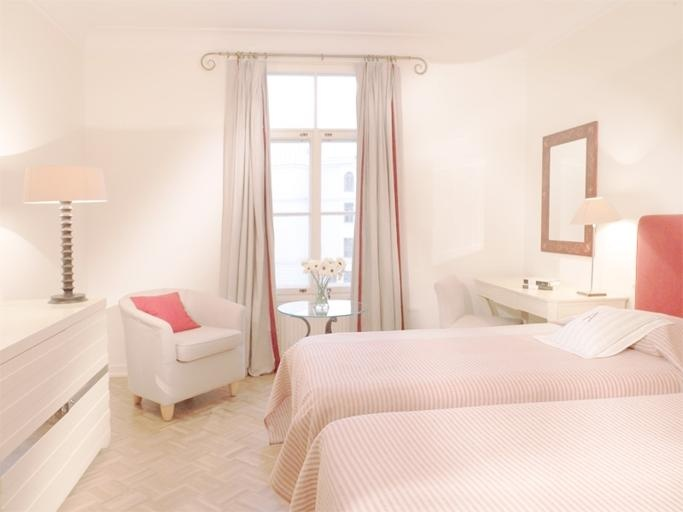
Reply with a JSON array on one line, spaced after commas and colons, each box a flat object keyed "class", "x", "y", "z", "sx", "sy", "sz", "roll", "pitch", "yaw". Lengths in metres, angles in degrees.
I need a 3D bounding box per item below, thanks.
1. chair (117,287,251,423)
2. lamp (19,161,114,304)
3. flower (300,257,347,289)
[{"class": "chair", "x": -1.247, "y": 0.745, "z": 3.985, "sx": 0.662, "sy": 0.820, "sz": 0.800, "roll": 10, "pitch": 14, "yaw": 42}, {"class": "lamp", "x": -1.909, "y": -0.124, "z": 3.498, "sx": 0.469, "sy": 0.998, "sz": 1.048, "roll": -6, "pitch": 12, "yaw": -32}, {"class": "flower", "x": -0.137, "y": 0.133, "z": 4.173, "sx": 0.326, "sy": 0.338, "sz": 0.299, "roll": -4, "pitch": 8, "yaw": -26}]
